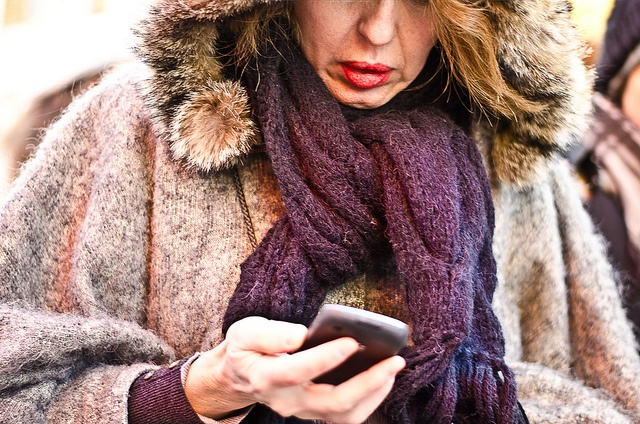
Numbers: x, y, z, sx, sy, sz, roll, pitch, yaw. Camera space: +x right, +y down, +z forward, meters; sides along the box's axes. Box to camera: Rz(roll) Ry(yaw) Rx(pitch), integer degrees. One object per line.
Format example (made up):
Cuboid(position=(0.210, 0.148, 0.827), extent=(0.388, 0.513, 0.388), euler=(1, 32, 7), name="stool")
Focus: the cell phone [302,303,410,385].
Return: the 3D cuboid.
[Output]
Cuboid(position=(0.080, 0.313, 1.736), extent=(0.169, 0.290, 0.032), euler=(24, 43, -15), name="cell phone")
